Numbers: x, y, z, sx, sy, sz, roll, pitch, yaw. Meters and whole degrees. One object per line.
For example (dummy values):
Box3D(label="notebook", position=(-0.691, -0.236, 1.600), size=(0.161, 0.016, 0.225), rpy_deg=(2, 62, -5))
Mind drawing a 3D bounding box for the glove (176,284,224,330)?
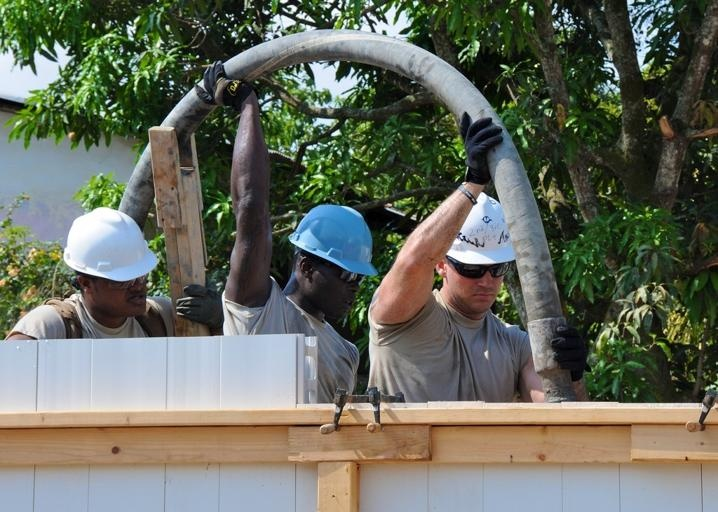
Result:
Box3D(label="glove", position=(-1.080, 0.372, 9.762), size=(0.290, 0.469, 0.263), rpy_deg=(-7, 4, -2))

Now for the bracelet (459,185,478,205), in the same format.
Box3D(label="bracelet", position=(0.711, -0.395, 9.116), size=(0.115, 0.032, 0.119), rpy_deg=(41, -8, 31))

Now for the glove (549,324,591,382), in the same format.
Box3D(label="glove", position=(1.352, 0.605, 8.898), size=(0.125, 0.331, 0.238), rpy_deg=(-32, 1, -30))

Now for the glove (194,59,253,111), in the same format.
Box3D(label="glove", position=(-0.897, -1.167, 9.685), size=(0.343, 0.300, 0.184), rpy_deg=(19, 22, 14))

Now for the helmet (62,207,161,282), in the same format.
Box3D(label="helmet", position=(-1.719, -0.057, 9.817), size=(0.549, 0.345, 0.485), rpy_deg=(9, 23, 29))

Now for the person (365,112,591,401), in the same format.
Box3D(label="person", position=(0.619, 0.072, 9.610), size=(0.984, 1.862, 1.017), rpy_deg=(-2, -5, 32))

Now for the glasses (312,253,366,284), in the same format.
Box3D(label="glasses", position=(-0.140, 0.106, 9.696), size=(0.267, 0.075, 0.207), rpy_deg=(24, 5, 15))

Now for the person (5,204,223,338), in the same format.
Box3D(label="person", position=(-1.616, 0.227, 9.749), size=(0.868, 0.852, 1.518), rpy_deg=(3, 5, 44))

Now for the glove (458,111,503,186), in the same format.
Box3D(label="glove", position=(0.791, -0.684, 9.079), size=(0.268, 0.462, 0.199), rpy_deg=(0, -4, 3))

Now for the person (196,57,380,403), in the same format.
Box3D(label="person", position=(-0.471, -0.156, 9.635), size=(1.178, 2.317, 0.384), rpy_deg=(3, -4, -23))

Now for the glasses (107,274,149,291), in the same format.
Box3D(label="glasses", position=(-1.578, 0.196, 9.813), size=(0.263, 0.103, 0.099), rpy_deg=(6, -7, -41))
